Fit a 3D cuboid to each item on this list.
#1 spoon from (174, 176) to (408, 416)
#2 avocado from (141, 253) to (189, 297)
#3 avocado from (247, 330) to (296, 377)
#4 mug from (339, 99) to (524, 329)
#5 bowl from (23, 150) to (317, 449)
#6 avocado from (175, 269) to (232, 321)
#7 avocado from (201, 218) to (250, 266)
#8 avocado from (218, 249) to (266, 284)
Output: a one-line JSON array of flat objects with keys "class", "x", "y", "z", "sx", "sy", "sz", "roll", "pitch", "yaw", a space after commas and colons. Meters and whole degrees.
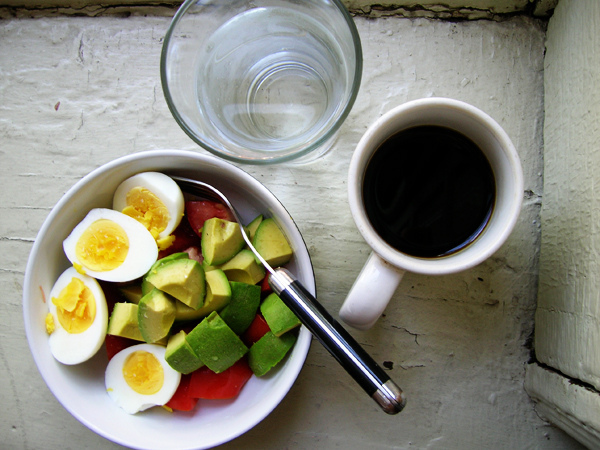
[{"class": "spoon", "x": -0.026, "y": 0.143, "z": 1.106, "sx": 0.090, "sy": 0.086, "sz": 0.627, "roll": -40, "pitch": 79, "yaw": -1}, {"class": "avocado", "x": -0.283, "y": 0.096, "z": 1.111, "sx": 0.070, "sy": 0.024, "sz": 0.099, "roll": 20, "pitch": 84, "yaw": 10}, {"class": "avocado", "x": -0.055, "y": 0.264, "z": 1.112, "sx": 0.080, "sy": 0.047, "sz": 0.105, "roll": -15, "pitch": 38, "yaw": 2}, {"class": "mug", "x": 0.200, "y": 0.006, "z": 1.039, "sx": 0.297, "sy": 0.287, "sz": 0.437, "roll": 35, "pitch": 85, "yaw": 7}, {"class": "bowl", "x": -0.357, "y": 0.131, "z": 1.291, "sx": 0.625, "sy": 0.261, "sz": 0.621, "roll": 0, "pitch": 92, "yaw": -1}, {"class": "avocado", "x": -0.179, "y": 0.136, "z": 1.155, "sx": 0.120, "sy": 0.091, "sz": 0.145, "roll": -10, "pitch": 37, "yaw": -17}, {"class": "avocado", "x": -0.153, "y": 0.037, "z": 1.112, "sx": 0.110, "sy": 0.040, "sz": 0.088, "roll": -43, "pitch": 90, "yaw": -7}, {"class": "avocado", "x": -0.118, "y": 0.089, "z": 1.118, "sx": 0.075, "sy": 0.030, "sz": 0.074, "roll": -31, "pitch": 77, "yaw": 21}]
